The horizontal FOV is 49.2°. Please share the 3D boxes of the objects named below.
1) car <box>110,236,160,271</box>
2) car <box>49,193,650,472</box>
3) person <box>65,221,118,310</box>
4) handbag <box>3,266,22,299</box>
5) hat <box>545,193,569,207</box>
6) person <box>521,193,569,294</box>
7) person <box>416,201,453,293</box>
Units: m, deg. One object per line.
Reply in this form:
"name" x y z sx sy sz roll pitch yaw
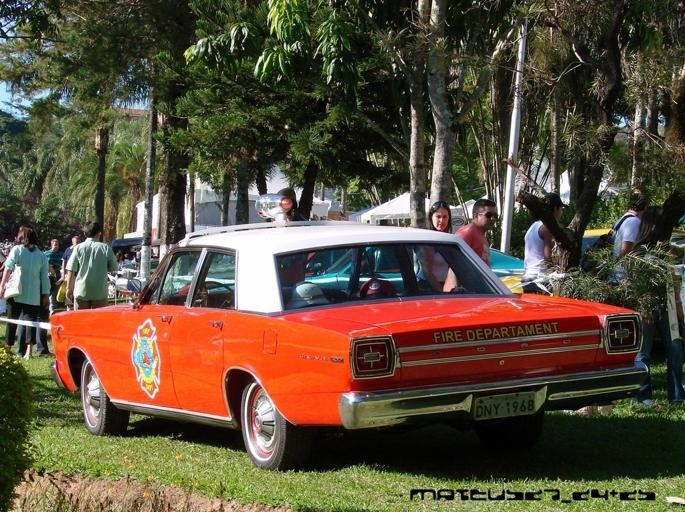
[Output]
"car" -8.555 -0.106 31.081 2.671 1.289 1.511 3 -6 -42
"car" -0.168 0.665 5.965 4.540 1.801 1.854 -2 0 37
"person" -3.760 0.382 11.209 0.700 1.808 0.542 0 16 -21
"handbag" -5.171 0.423 11.746 0.392 0.530 0.136 -12 -21 41
"hat" 2.275 -0.624 8.076 0.271 0.149 0.172 -6 16 -39
"person" 2.296 0.087 8.385 0.461 1.528 0.433 -1 15 -7
"person" 0.769 0.070 6.113 0.304 1.120 0.304 5 27 13
